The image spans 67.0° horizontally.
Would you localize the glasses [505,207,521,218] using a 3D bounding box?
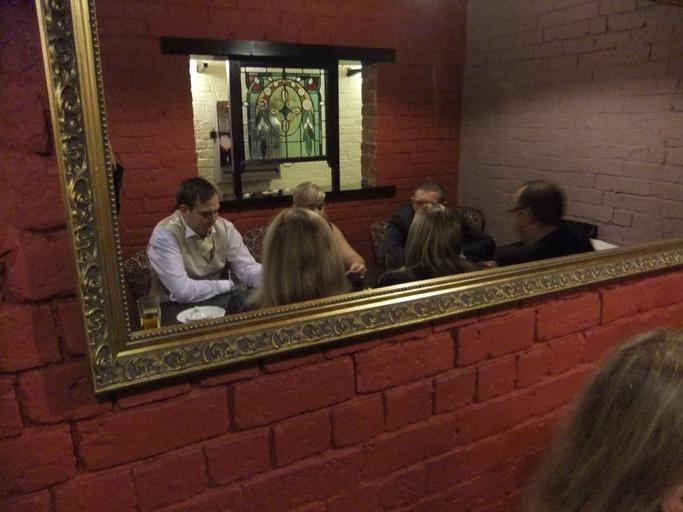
[{"bbox_3d":[0.440,-0.116,1.322,0.059,0.013,0.016,-24,24,-21],"label":"glasses"}]
